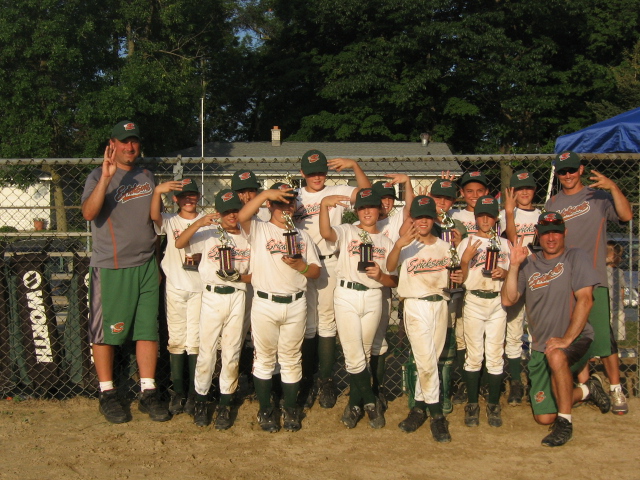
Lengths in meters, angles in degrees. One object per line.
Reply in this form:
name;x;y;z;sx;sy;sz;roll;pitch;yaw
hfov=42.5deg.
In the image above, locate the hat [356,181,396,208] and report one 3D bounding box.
hat;0.719;-0.618;11.123;0.299;0.242;0.477;-1;17;16
